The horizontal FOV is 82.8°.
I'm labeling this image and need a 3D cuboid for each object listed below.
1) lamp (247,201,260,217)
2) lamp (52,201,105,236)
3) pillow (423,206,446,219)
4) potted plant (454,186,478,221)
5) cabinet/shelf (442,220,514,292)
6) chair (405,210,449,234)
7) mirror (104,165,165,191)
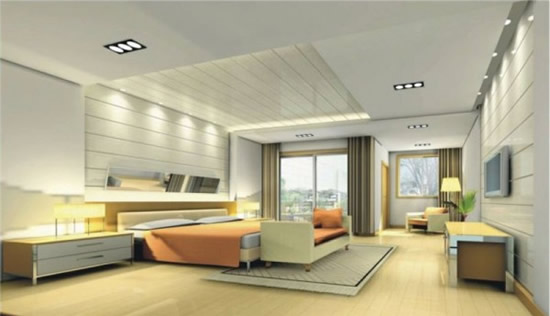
[{"bbox_3d":[-0.693,1.663,10.059,0.327,0.512,0.609,-2,-5,14],"label":"lamp"},{"bbox_3d":[-3.653,1.095,5.792,0.778,0.406,0.696,-1,-4,4],"label":"lamp"},{"bbox_3d":[5.483,1.835,10.777,0.531,0.414,0.709,3,-9,-44],"label":"pillow"},{"bbox_3d":[4.867,1.187,7.871,0.356,0.798,1.290,-1,-3,33],"label":"potted plant"},{"bbox_3d":[3.505,1.684,5.430,0.901,0.869,0.991,-1,-3,25],"label":"cabinet/shelf"},{"bbox_3d":[5.103,2.194,10.614,1.535,0.845,1.574,-1,-5,19],"label":"chair"},{"bbox_3d":[-3.123,0.488,7.161,0.052,0.532,1.412,-1,-3,35],"label":"mirror"}]
